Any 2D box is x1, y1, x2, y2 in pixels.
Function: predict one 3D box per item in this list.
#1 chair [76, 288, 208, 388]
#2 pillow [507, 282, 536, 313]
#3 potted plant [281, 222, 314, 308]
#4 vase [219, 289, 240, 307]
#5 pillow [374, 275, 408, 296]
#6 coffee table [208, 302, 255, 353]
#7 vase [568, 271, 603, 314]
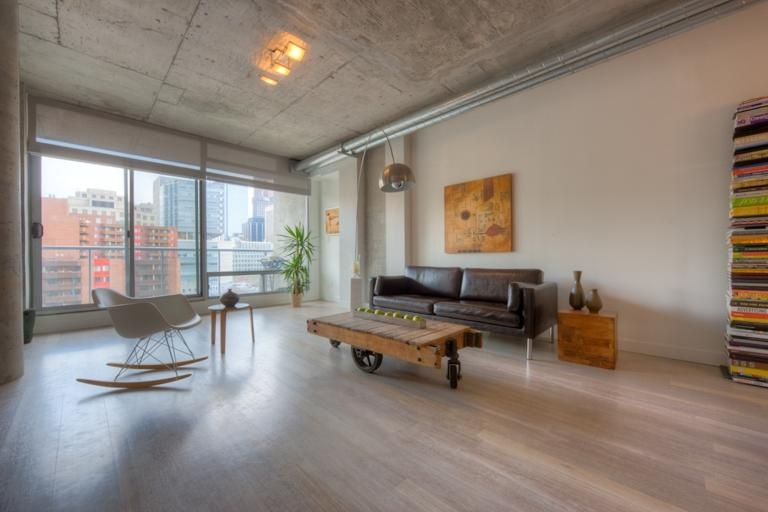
[{"bbox_3d":[-2.871,0.985,5.712,1.297,1.079,1.054,-1,-3,-7],"label":"chair"},{"bbox_3d":[1.699,0.523,5.809,0.350,0.361,0.376,-2,-1,30],"label":"pillow"},{"bbox_3d":[-1.828,0.162,9.723,0.720,1.586,1.351,-2,8,-10],"label":"potted plant"},{"bbox_3d":[-2.153,0.582,6.322,0.249,0.211,0.257,2,8,17],"label":"vase"},{"bbox_3d":[0.113,0.496,7.425,0.366,0.343,0.358,-4,-10,26],"label":"pillow"},{"bbox_3d":[-2.130,0.998,6.423,0.627,0.532,0.550,-1,2,-43],"label":"coffee table"},{"bbox_3d":[2.626,0.485,5.939,0.495,0.533,0.256,1,-2,33],"label":"vase"}]
